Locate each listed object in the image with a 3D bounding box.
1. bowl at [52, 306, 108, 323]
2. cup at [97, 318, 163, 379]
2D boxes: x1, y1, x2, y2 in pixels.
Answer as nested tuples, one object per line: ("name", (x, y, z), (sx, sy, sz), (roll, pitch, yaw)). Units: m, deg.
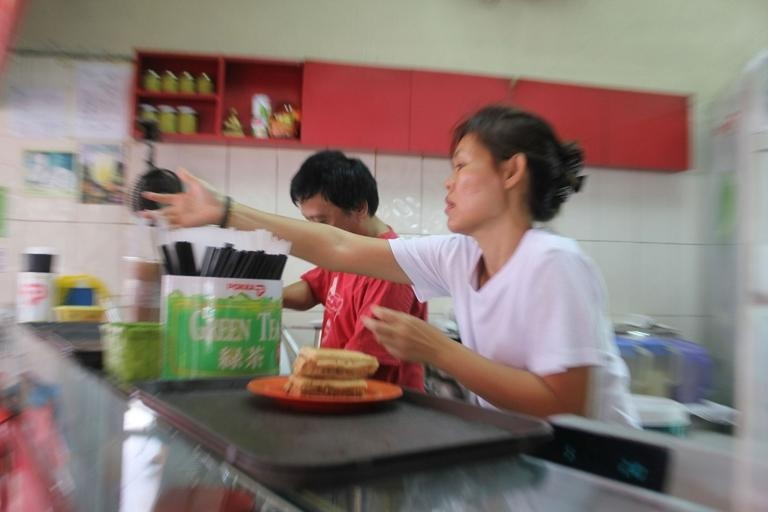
("bowl", (-0.411, 0.077, 0.727), (0.058, 0.023, 0.033), (-4, 6, -22))
("cup", (-0.277, 0.100, 0.601), (0.068, 0.060, 0.065), (0, -3, 0))
